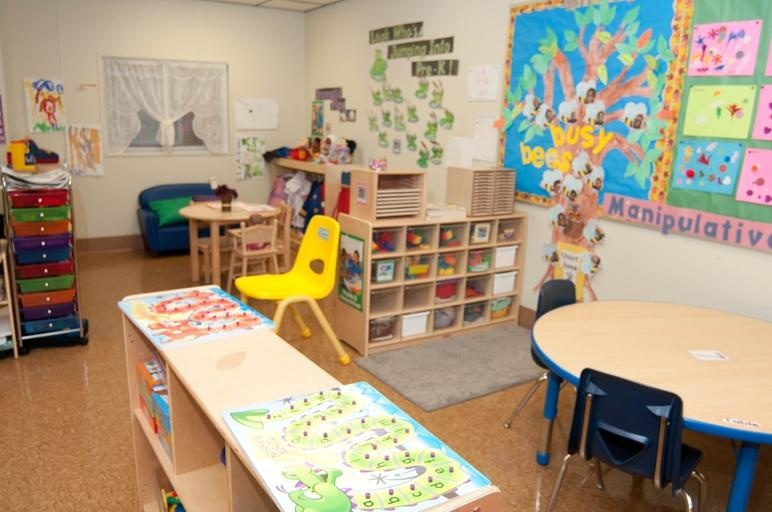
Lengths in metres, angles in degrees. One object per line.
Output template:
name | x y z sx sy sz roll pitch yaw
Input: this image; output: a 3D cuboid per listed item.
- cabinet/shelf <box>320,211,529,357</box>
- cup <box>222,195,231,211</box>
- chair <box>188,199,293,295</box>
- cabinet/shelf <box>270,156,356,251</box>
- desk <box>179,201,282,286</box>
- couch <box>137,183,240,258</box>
cabinet/shelf | 0.313 0.241 4.752 1.170 0.789 0.409 -8 19 -30
cup | -1.755 -0.575 5.762 0.090 0.170 0.092 0 15 0
chair | -1.797 -0.224 5.919 1.048 0.778 1.013 -8 19 -38
cabinet/shelf | -0.838 -0.620 6.177 0.428 1.023 1.229 -10 18 -33
desk | -1.748 -0.152 6.027 1.050 0.776 1.012 14 16 43
couch | -2.676 -0.491 7.170 1.240 0.876 0.694 -5 15 -29
